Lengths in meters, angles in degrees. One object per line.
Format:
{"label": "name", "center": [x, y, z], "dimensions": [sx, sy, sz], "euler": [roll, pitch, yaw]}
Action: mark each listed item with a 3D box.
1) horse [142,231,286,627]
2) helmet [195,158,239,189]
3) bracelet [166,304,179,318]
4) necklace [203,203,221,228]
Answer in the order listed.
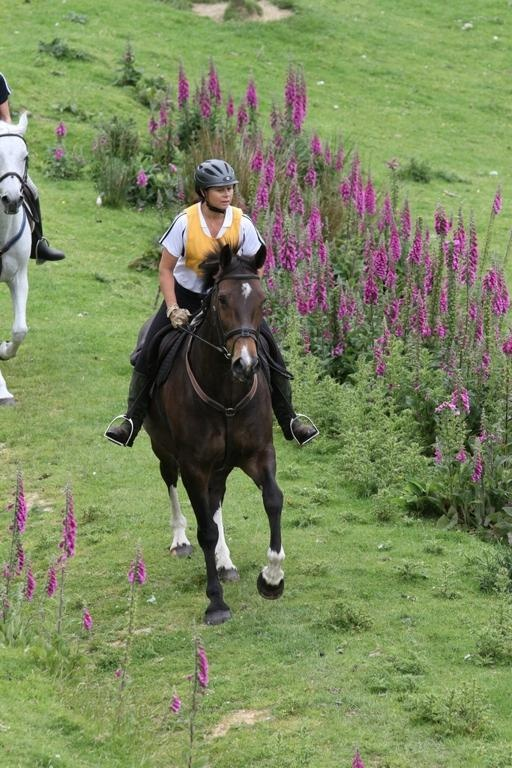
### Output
{"label": "horse", "center": [-0.265, 0.249, 8.546], "dimensions": [0.779, 2.459, 1.754], "euler": [-4, 15, -8]}
{"label": "helmet", "center": [-0.293, -1.417, 8.540], "dimensions": [0.178, 0.126, 0.263], "euler": [-6, 9, -32]}
{"label": "bracelet", "center": [-0.568, -0.490, 8.600], "dimensions": [0.048, 0.091, 0.072], "euler": [34, 16, 19]}
{"label": "necklace", "center": [-0.281, -1.137, 8.635], "dimensions": [0.124, 0.161, 0.123], "euler": [1, 43, 1]}
